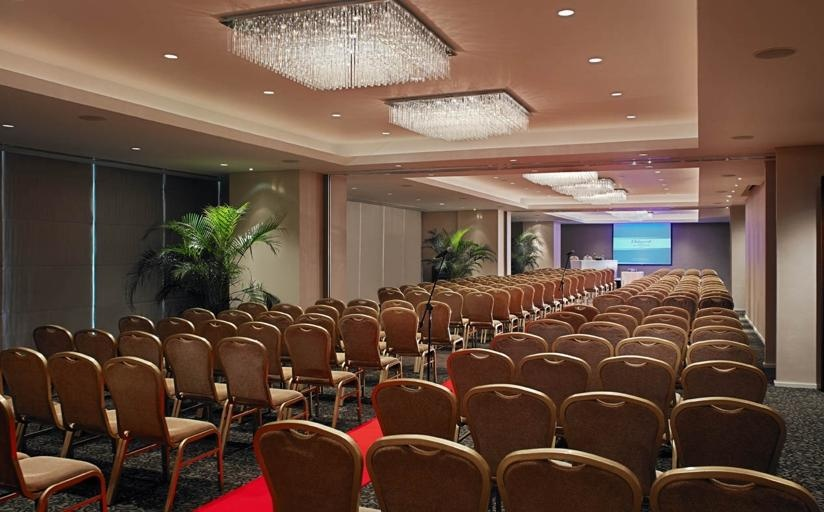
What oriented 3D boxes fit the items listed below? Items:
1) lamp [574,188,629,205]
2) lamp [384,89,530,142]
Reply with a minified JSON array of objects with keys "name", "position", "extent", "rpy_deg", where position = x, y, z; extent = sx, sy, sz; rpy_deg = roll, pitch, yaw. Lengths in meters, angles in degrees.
[{"name":"lamp","position":[7.576,-2.253,20.734],"extent":[1.217,0.254,1.220],"rpy_deg":[-5,-10,36]},{"name":"lamp","position":[0.867,-2.461,9.413],"extent":[2.365,0.316,1.402],"rpy_deg":[1,-1,11]}]
